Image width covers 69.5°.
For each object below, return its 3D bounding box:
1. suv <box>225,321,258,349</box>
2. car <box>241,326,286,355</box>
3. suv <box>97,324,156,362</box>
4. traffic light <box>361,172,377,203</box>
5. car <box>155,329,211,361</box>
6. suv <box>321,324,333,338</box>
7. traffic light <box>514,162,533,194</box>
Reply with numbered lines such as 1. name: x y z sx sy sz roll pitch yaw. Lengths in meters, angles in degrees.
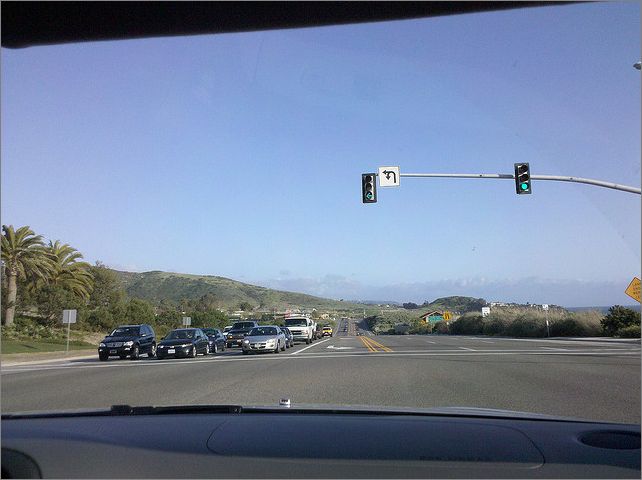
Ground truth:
1. suv: -5.869 6.810 33.683 1.596 1.842 3.601 -2 -13 7
2. car: -2.978 5.245 24.504 1.218 0.909 2.188 -3 -17 5
3. suv: -9.697 5.307 23.936 1.413 1.371 3.115 -5 -18 8
4. traffic light: 2.061 -2.256 19.858 0.554 1.312 0.348 2 -8 -6
5. car: -6.763 5.173 22.989 1.104 0.923 2.649 -4 -16 11
6. suv: 0.688 13.136 66.647 1.464 1.405 2.741 -1 -16 2
7. traffic light: 8.681 -2.721 19.811 0.576 1.408 0.460 -2 32 24
